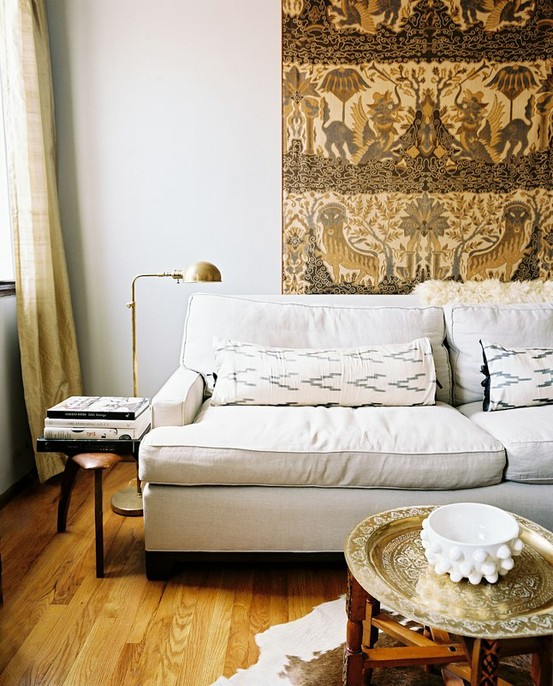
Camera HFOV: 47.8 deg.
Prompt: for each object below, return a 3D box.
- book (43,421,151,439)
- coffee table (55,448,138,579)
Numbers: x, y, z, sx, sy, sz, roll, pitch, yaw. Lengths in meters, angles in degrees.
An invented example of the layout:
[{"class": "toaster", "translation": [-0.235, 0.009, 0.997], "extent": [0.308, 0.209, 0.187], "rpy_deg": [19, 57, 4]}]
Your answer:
[{"class": "book", "translation": [-0.605, 0.285, 2.032], "extent": [0.301, 0.058, 0.029], "rpy_deg": [0, 10, 0]}, {"class": "coffee table", "translation": [-0.615, 0.492, 1.983], "extent": [0.226, 0.270, 0.166], "rpy_deg": [16, -27, -37]}]
